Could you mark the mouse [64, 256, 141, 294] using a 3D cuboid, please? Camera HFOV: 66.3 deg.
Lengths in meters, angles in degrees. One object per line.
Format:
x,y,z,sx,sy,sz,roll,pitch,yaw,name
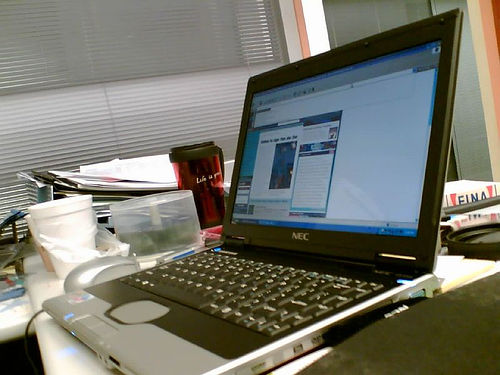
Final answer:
-0.226,0.127,0.587,0.050,0.030,0.100,8,11,44,mouse
